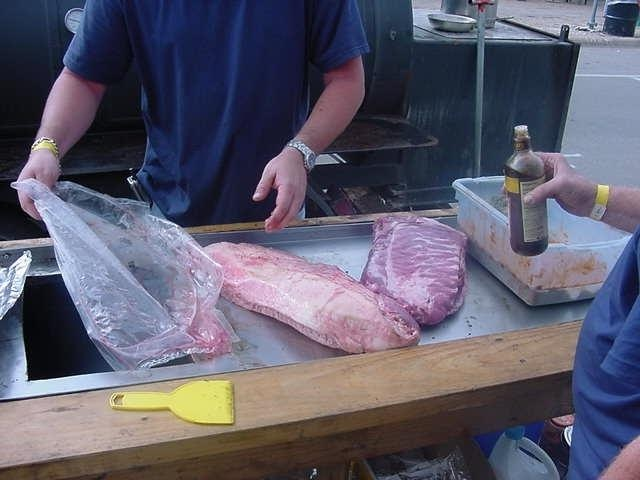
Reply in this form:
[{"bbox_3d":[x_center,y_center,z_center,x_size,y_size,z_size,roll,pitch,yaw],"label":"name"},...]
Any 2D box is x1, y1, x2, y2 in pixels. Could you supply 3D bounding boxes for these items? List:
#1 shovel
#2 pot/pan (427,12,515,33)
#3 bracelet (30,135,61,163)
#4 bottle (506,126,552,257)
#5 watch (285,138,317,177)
[{"bbox_3d":[-0.354,0.389,1.266,0.302,0.041,0.108,2,25,-2],"label":"shovel"},{"bbox_3d":[0.784,-1.278,3.099,0.283,0.094,0.271,8,25,12],"label":"pot/pan"},{"bbox_3d":[-0.910,-0.304,1.732,0.071,0.091,0.043,-17,7,-5],"label":"bracelet"},{"bbox_3d":[0.578,-0.116,1.474,0.122,0.397,0.118,-1,11,0],"label":"bottle"},{"bbox_3d":[-0.066,-0.285,1.768,0.090,0.089,0.067,10,26,17],"label":"watch"}]
